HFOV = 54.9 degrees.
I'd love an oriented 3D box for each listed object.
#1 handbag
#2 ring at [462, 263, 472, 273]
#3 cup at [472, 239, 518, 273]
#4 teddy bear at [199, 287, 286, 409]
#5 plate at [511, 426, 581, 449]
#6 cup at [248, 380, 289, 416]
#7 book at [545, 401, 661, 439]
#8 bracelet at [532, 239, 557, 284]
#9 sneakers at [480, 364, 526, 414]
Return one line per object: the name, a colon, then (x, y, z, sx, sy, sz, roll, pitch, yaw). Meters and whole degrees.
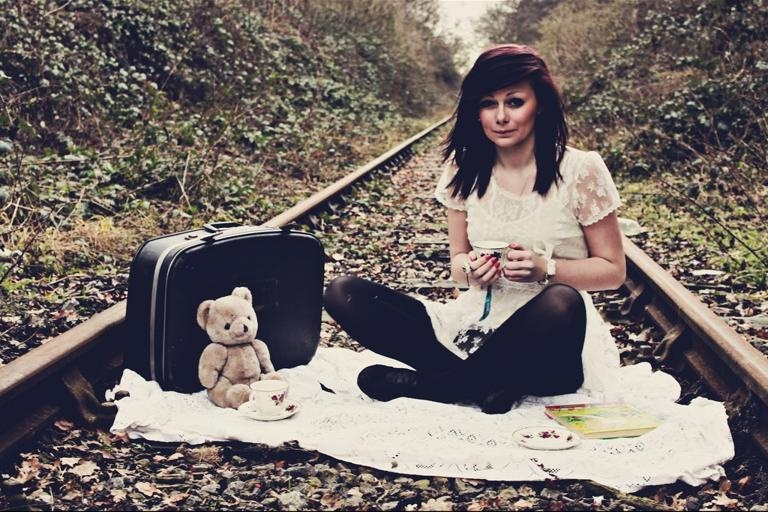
handbag: (-1.030, 0.365, 4.774, 1.170, 0.856, 0.444, -5, 7, -44)
ring: (0.517, 0.076, 4.620, 0.053, 0.059, 0.022, 6, 5, 18)
cup: (0.678, -0.008, 4.576, 0.234, 0.097, 0.155, 4, -7, 9)
teddy bear: (-0.949, 0.586, 4.689, 0.505, 0.648, 0.260, -10, 5, -7)
plate: (0.964, 1.078, 4.360, 0.377, 0.083, 0.190, -8, 4, 8)
cup: (-0.706, 0.880, 4.645, 0.203, 0.155, 0.237, 3, 4, 33)
book: (1.327, 0.996, 4.498, 0.644, 0.116, 0.275, -8, 4, 4)
bracelet: (1.019, 0.021, 4.631, 0.097, 0.233, 0.184, 4, -2, -19)
sneakers: (0.733, 0.856, 4.712, 0.290, 0.229, 0.077, -56, 19, -20)
